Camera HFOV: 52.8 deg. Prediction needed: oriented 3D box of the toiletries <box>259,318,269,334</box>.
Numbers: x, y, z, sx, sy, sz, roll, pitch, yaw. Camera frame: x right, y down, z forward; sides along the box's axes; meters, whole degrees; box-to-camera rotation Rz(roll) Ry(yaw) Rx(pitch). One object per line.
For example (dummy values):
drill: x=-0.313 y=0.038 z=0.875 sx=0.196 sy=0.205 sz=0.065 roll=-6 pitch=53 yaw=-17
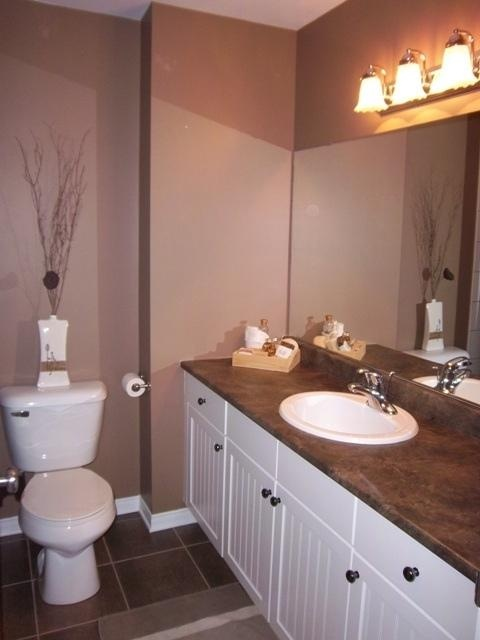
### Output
toiletries: x=0.120 y=0.038 z=2.407 sx=0.050 sy=0.087 sz=0.162 roll=1 pitch=7 yaw=2

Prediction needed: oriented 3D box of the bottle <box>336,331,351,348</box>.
bottle: x=0.450 y=0.089 z=2.087 sx=0.033 sy=0.067 sz=0.060 roll=2 pitch=9 yaw=9

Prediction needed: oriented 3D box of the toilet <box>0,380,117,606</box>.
toilet: x=-0.766 y=0.710 z=1.991 sx=0.467 sy=0.769 sz=0.546 roll=-1 pitch=7 yaw=-18

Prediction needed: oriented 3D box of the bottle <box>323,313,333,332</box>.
bottle: x=0.401 y=0.013 z=2.194 sx=0.040 sy=0.083 sz=0.048 roll=-13 pitch=21 yaw=-41

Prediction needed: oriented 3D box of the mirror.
mirror: x=0.533 y=-0.209 z=1.751 sx=0.039 sy=1.122 sz=0.955 roll=-6 pitch=13 yaw=-23

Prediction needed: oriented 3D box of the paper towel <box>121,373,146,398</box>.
paper towel: x=-0.514 y=0.313 z=2.334 sx=0.113 sy=0.087 sz=0.188 roll=-1 pitch=7 yaw=-16

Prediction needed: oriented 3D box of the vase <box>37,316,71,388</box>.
vase: x=-0.854 y=0.142 z=2.182 sx=0.131 sy=0.316 sz=0.108 roll=-2 pitch=7 yaw=-27

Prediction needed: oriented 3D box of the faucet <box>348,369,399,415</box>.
faucet: x=0.437 y=0.221 z=1.562 sx=0.148 sy=0.122 sz=0.213 roll=4 pitch=7 yaw=21

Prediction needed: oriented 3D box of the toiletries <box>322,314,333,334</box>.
toiletries: x=0.400 y=0.022 z=2.194 sx=0.039 sy=0.120 sz=0.050 roll=14 pitch=26 yaw=33
